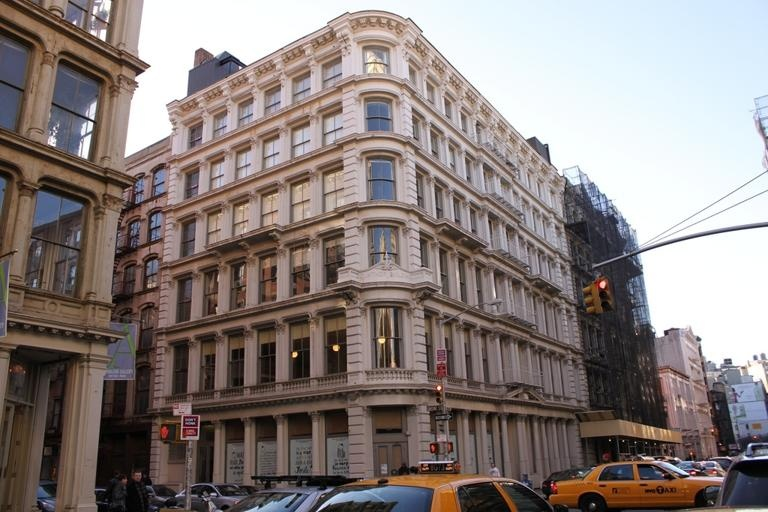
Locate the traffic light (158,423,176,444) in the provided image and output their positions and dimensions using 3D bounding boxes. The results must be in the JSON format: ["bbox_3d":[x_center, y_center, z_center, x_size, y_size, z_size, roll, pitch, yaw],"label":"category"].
[{"bbox_3d":[-8.437,6.870,25.831,0.676,0.740,0.749,4,-25,-15],"label":"traffic light"}]

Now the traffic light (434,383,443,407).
[{"bbox_3d":[3.124,7.752,36.940,0.389,1.029,0.701,-1,-25,-3],"label":"traffic light"}]

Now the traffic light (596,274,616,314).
[{"bbox_3d":[8.771,1.425,26.167,0.465,1.456,0.877,-14,-27,21],"label":"traffic light"}]
